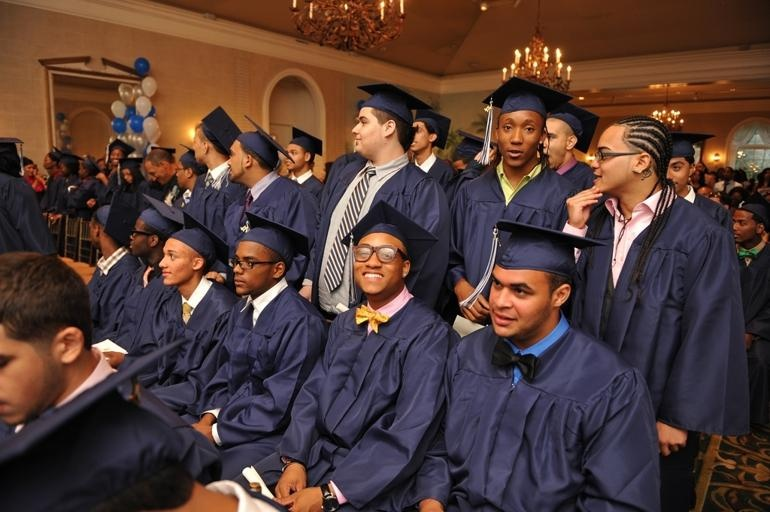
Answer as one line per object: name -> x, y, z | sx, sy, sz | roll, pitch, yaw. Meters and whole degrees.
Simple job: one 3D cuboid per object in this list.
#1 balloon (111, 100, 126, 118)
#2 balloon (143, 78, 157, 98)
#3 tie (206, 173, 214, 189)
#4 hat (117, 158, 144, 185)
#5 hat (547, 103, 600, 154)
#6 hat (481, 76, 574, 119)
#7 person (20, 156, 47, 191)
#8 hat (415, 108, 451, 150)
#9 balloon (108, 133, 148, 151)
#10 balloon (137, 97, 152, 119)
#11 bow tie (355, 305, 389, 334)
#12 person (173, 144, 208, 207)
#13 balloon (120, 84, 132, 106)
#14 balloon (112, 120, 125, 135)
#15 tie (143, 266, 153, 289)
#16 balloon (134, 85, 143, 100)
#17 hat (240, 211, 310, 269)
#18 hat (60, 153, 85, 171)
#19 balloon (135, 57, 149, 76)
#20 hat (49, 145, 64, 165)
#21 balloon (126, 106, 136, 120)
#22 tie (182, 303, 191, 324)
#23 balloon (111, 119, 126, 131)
balloon -> -4.983, -2.733, 11.437 | 0.136, 0.339, 0.337 | 5, 15, 16
balloon -> -4.501, -3.247, 11.751 | 0.191, 0.363, 0.390 | 4, 15, 11
tie -> -1.895, -0.807, 6.633 | 0.102, 0.116, 0.112 | 33, 54, 3
hat -> -4.019, -1.349, 9.737 | 0.469, 0.532, 0.364 | -5, 12, -18
hat -> 1.738, -1.164, 5.430 | 0.446, 0.467, 0.125 | 23, 48, 23
hat -> 1.043, -1.156, 4.472 | 0.592, 0.267, 0.439 | 4, 15, 10
person -> -6.112, -1.417, 10.565 | 0.510, 0.368, 0.760 | -1, 17, -24
hat -> 0.507, -1.437, 6.762 | 0.449, 0.452, 0.115 | 20, -11, -32
balloon -> -4.762, -2.175, 11.412 | 0.505, 0.253, 0.525 | 15, -13, 9
balloon -> -4.583, -2.824, 11.621 | 0.331, 0.413, 0.315 | -7, 15, -17
bow tie -> -0.066, 0.431, 4.119 | 0.239, 0.161, 0.097 | 23, -16, 39
person -> -2.475, -0.989, 7.921 | 0.440, 0.763, 0.768 | -6, -2, -17
balloon -> -4.892, -3.032, 11.531 | 0.255, 0.386, 0.100 | -6, 16, -24
balloon -> -4.958, -2.408, 11.448 | 0.229, 0.238, 0.271 | 6, -2, 7
tie -> -2.238, 0.199, 5.745 | 0.126, 0.181, 0.062 | 9, -3, -9
balloon -> -4.700, -3.118, 11.615 | 0.183, 0.237, 0.096 | -6, 16, -26
hat -> -0.858, -0.124, 4.694 | 0.459, 0.212, 0.470 | 12, -25, 0
hat -> -5.399, -1.602, 10.547 | 0.356, 0.134, 0.345 | 13, 1, -7
balloon -> -4.562, -3.576, 11.604 | 0.178, 0.356, 0.383 | 7, 15, 22
hat -> -5.866, -1.769, 10.888 | 0.356, 0.343, 0.098 | 31, 24, 35
balloon -> -4.807, -2.710, 11.582 | 0.125, 0.235, 0.138 | 9, 16, 29
tie -> -1.651, 0.474, 5.082 | 0.104, 0.149, 0.050 | -2, -6, 38
balloon -> -4.959, -2.422, 11.446 | 0.216, 0.233, 0.261 | 7, -3, 0
